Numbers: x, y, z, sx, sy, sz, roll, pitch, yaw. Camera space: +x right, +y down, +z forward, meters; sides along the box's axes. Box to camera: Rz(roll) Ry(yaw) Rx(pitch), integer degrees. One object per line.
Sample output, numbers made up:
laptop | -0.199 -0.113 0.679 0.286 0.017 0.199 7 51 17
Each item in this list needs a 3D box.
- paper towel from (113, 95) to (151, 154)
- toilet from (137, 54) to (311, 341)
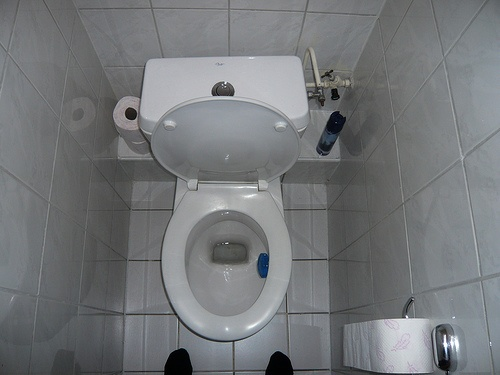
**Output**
paper towel | -0.527 -0.288 1.733 0.164 0.162 0.289 -4 79 0
toilet | -0.095 0.045 1.620 0.509 0.948 1.093 0 69 -5
